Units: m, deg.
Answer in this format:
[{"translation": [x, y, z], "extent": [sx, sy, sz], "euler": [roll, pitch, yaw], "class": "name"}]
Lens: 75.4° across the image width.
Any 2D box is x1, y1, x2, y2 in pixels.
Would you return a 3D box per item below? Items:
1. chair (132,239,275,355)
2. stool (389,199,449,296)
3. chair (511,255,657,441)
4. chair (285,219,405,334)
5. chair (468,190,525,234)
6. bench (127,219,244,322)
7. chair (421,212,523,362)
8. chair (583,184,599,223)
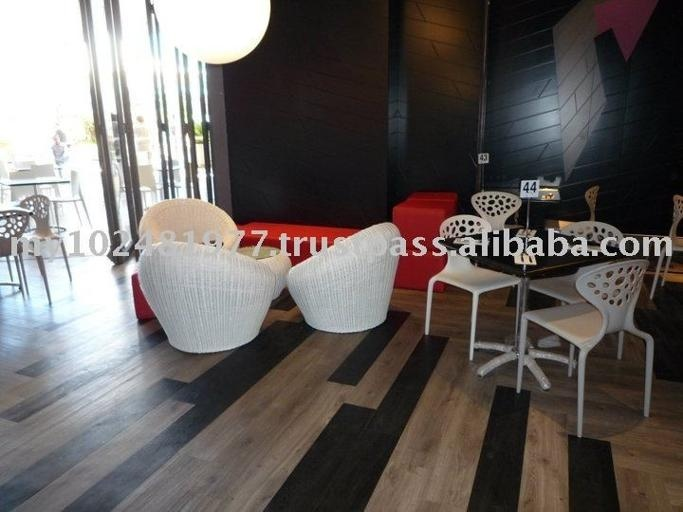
[{"translation": [-1.023, 0.256, 3.672], "extent": [0.950, 0.750, 0.992], "euler": [7, 14, 26], "class": "chair"}, {"translation": [0.813, -0.066, 4.555], "extent": [0.426, 0.726, 0.852], "euler": [3, 11, 24], "class": "stool"}, {"translation": [1.605, 0.516, 2.933], "extent": [0.551, 1.092, 0.632], "euler": [-7, 12, -12], "class": "chair"}, {"translation": [0.104, 0.146, 4.015], "extent": [0.975, 0.888, 0.988], "euler": [8, 15, 29], "class": "chair"}, {"translation": [1.806, -0.593, 5.310], "extent": [0.594, 0.695, 0.691], "euler": [6, 12, 20], "class": "chair"}, {"translation": [-1.329, 0.130, 3.749], "extent": [0.791, 0.637, 0.787], "euler": [-8, 22, -28], "class": "bench"}, {"translation": [1.029, 0.208, 3.814], "extent": [0.649, 0.963, 0.646], "euler": [5, 10, 35], "class": "chair"}, {"translation": [3.130, -0.672, 5.502], "extent": [0.164, 0.439, 0.288], "euler": [7, 15, 29], "class": "chair"}]
